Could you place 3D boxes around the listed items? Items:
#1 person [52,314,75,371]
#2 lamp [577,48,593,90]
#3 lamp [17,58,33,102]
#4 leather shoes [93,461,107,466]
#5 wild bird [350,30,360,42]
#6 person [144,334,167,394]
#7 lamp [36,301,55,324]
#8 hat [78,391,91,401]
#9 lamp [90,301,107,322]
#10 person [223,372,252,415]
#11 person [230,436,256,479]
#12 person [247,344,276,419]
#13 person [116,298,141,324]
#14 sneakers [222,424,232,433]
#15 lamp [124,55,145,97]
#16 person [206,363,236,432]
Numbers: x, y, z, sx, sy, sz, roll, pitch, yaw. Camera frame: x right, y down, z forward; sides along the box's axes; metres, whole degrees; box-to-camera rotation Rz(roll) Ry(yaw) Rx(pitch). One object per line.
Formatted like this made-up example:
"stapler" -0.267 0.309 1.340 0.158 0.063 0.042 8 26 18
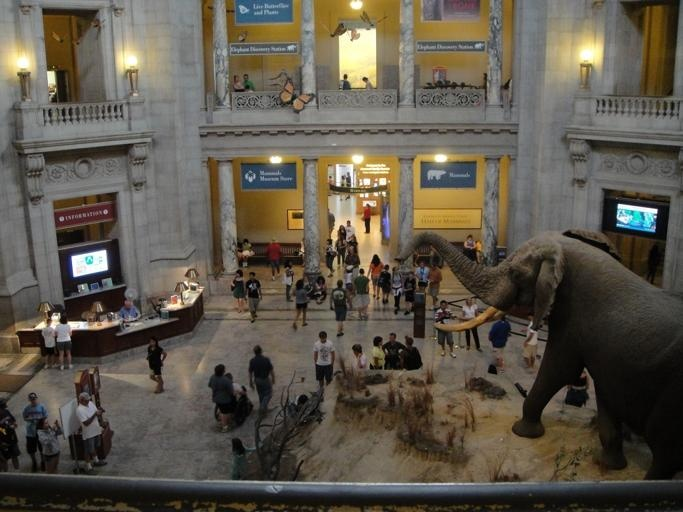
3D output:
"person" -9.339 2.890 18.008 0.518 1.878 0.606 3 2 -16
"lamp" 9.309 -7.062 20.361 0.482 1.392 0.425 5 2 24
"lamp" -10.836 -6.033 18.285 0.434 1.638 0.595 2 3 -32
"leather shoes" -6.002 5.145 13.315 0.286 0.130 0.110 -2 10 -10
"wild bird" 0.688 -10.502 25.667 0.566 0.702 0.195 5 11 28
"person" -5.809 3.355 16.804 0.501 1.861 1.400 3 2 -18
"lamp" -10.210 1.934 18.582 0.688 0.847 0.711 -1 8 -26
"hat" -6.004 3.282 12.523 0.156 0.181 0.225 -1 -3 -12
"lamp" -8.464 1.951 18.708 0.340 0.670 0.528 4 2 11
"person" -2.943 3.948 15.235 0.649 0.864 1.237 -1 10 5
"person" -2.231 4.595 12.107 0.422 0.558 1.285 8 -29 -3
"person" -2.206 3.449 14.862 0.664 2.097 0.633 -4 15 -5
"person" -7.909 2.069 19.693 0.886 1.233 0.741 -4 6 -45
"sneakers" -3.155 4.739 14.685 0.317 0.243 0.112 3 1 -10
"lamp" -8.059 -6.980 20.858 0.556 1.719 0.647 5 3 39
"person" -3.250 3.821 14.541 0.735 1.915 0.863 4 2 12
